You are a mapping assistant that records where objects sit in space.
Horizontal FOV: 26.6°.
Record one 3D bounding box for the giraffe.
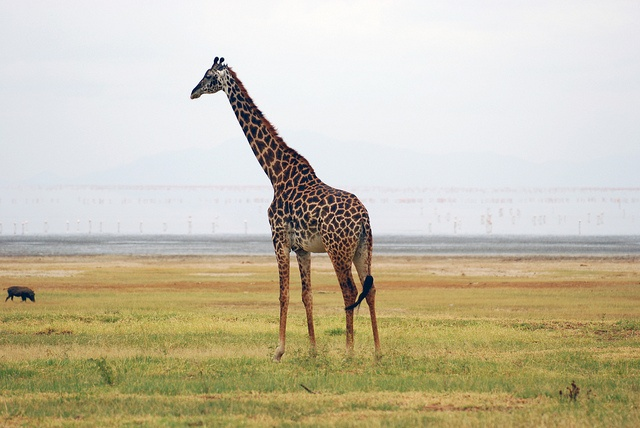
[{"bbox_3d":[-1.006,0.036,71.409,9.626,13.807,3.129,13,20,39],"label":"giraffe"}]
